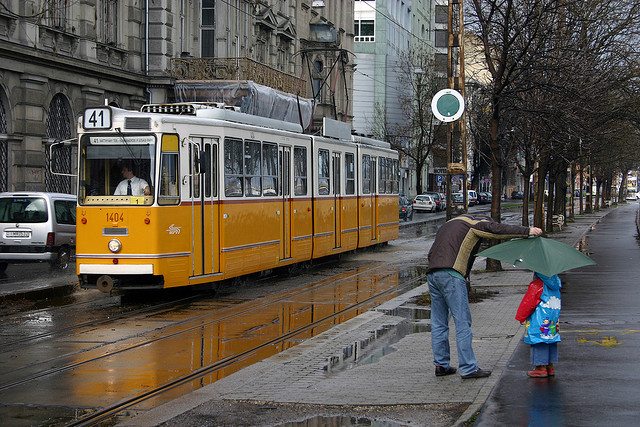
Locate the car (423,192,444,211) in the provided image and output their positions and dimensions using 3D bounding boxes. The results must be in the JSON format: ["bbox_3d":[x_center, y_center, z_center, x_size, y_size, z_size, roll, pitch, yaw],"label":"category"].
[{"bbox_3d":[10.749,-1.096,71.011,1.241,1.224,2.264,1,7,18],"label":"car"}]

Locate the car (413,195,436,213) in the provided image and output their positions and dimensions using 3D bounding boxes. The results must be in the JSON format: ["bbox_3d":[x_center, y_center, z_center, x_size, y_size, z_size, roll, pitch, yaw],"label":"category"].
[{"bbox_3d":[9.295,-0.852,67.571,1.807,1.291,1.359,-2,1,34],"label":"car"}]

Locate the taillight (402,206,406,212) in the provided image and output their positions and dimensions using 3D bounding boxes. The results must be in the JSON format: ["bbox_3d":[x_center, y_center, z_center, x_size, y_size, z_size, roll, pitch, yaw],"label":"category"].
[{"bbox_3d":[5.777,-0.306,52.448,0.225,0.335,0.674,1,10,12],"label":"taillight"}]

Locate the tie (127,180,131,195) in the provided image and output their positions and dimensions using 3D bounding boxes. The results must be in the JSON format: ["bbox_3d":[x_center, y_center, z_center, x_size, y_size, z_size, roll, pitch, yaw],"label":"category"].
[{"bbox_3d":[-4.107,-0.563,16.332,0.077,0.307,0.056,-2,1,22],"label":"tie"}]

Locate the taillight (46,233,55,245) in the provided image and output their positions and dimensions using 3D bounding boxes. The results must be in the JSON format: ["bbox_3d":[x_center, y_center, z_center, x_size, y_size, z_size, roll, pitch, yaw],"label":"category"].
[{"bbox_3d":[-7.636,0.719,21.534,0.208,0.332,0.088,-3,1,-39],"label":"taillight"}]

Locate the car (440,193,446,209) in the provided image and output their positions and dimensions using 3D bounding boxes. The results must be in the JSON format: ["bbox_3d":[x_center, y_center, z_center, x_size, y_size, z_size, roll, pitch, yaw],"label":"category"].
[{"bbox_3d":[12.259,-1.385,74.785,0.877,0.851,1.553,4,45,10],"label":"car"}]

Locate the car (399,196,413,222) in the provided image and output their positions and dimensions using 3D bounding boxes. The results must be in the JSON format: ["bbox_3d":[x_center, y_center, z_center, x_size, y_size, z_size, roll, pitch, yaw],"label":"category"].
[{"bbox_3d":[5.979,-0.375,53.633,1.039,1.050,2.405,-1,-3,11],"label":"car"}]

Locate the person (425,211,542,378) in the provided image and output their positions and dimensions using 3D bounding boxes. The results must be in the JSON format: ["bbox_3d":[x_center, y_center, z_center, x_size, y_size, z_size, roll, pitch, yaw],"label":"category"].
[{"bbox_3d":[2.072,1.149,10.480,1.123,1.819,0.460,-2,1,12],"label":"person"}]

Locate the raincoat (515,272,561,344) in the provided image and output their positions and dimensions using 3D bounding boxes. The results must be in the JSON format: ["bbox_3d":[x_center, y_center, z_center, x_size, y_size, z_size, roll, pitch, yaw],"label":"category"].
[{"bbox_3d":[3.042,1.308,10.536,0.596,0.753,0.429,-2,1,10],"label":"raincoat"}]

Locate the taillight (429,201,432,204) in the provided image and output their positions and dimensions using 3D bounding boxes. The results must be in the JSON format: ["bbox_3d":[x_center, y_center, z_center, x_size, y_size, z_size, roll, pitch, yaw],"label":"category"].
[{"bbox_3d":[9.667,-0.939,66.604,0.193,0.200,0.404,-2,-4,21],"label":"taillight"}]

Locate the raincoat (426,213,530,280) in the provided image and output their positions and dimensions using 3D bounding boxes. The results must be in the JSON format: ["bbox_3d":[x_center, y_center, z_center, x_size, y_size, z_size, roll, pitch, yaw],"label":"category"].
[{"bbox_3d":[2.113,0.463,10.527,1.275,0.712,0.358,-2,1,0],"label":"raincoat"}]

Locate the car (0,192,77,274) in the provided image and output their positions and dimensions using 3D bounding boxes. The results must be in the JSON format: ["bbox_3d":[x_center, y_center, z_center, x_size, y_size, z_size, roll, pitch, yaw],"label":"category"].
[{"bbox_3d":[-8.093,0.540,22.974,2.048,1.941,3.505,0,1,9],"label":"car"}]

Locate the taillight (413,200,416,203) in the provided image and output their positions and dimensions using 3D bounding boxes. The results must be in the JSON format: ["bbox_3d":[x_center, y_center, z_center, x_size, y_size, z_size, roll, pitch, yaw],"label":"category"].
[{"bbox_3d":[8.581,-1.052,68.614,0.223,0.258,0.234,0,-9,5],"label":"taillight"}]

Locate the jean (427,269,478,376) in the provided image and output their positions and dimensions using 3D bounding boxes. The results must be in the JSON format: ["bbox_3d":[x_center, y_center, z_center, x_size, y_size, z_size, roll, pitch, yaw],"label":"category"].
[{"bbox_3d":[1.827,1.499,10.490,0.630,1.185,0.350,-2,1,16],"label":"jean"}]

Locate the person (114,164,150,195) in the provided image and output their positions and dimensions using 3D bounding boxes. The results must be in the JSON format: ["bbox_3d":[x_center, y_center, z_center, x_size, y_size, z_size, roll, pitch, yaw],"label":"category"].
[{"bbox_3d":[-4.025,-0.706,16.367,0.479,0.764,0.224,-8,-19,5],"label":"person"}]
